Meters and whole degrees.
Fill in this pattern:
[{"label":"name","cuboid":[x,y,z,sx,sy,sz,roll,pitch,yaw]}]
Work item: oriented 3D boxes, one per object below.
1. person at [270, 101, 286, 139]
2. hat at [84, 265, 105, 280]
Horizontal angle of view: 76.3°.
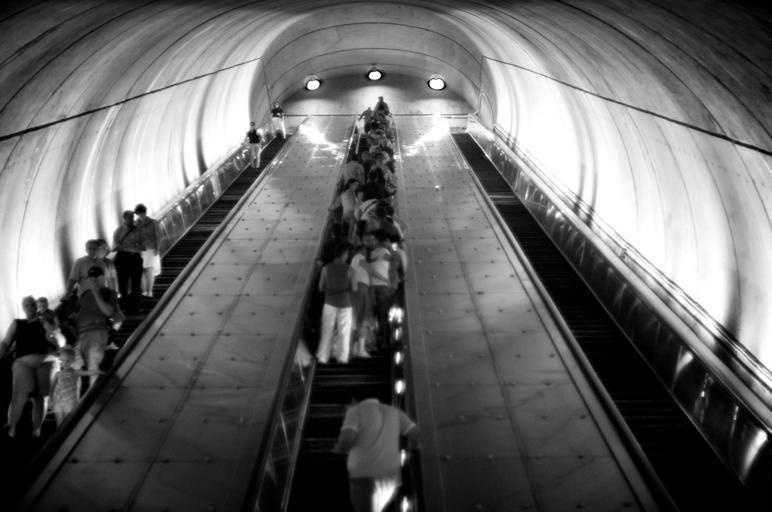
[{"label":"person","cuboid":[-4.481,-5.674,20.767,0.649,1.874,0.619,-7,-16,30]},{"label":"hat","cuboid":[-4.093,0.220,6.919,0.193,0.141,0.195,-2,10,-14]}]
